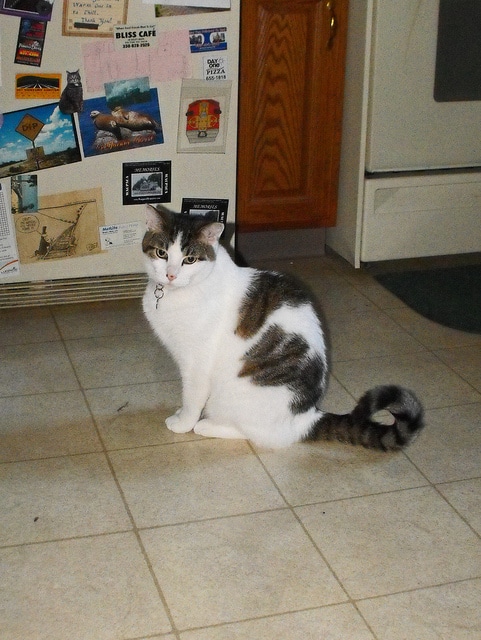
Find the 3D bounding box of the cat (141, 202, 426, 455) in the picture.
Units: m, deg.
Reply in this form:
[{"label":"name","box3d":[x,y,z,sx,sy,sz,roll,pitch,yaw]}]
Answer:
[{"label":"cat","box3d":[0.101,0.027,1.603,0.765,0.641,0.304,7,29,15]}]
